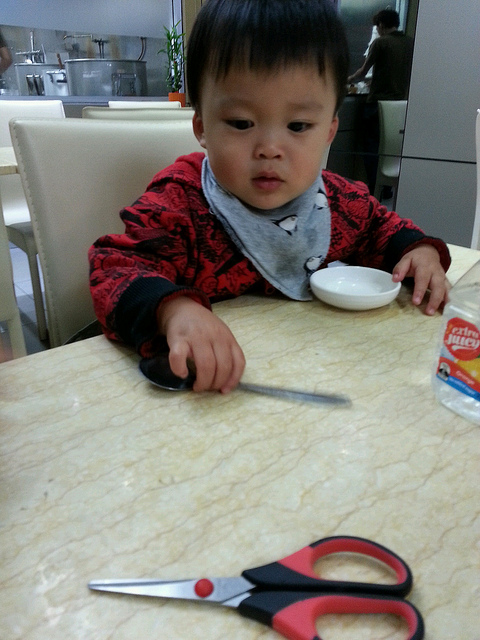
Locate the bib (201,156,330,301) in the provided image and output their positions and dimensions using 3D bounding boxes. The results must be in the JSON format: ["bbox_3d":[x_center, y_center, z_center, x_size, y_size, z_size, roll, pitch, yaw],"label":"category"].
[{"bbox_3d":[0.050,-0.157,0.844,0.224,0.166,0.198,0,25,-3],"label":"bib"}]

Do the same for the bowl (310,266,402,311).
[{"bbox_3d":[0.167,-0.046,0.764,0.132,0.038,0.129,0,27,0],"label":"bowl"}]
